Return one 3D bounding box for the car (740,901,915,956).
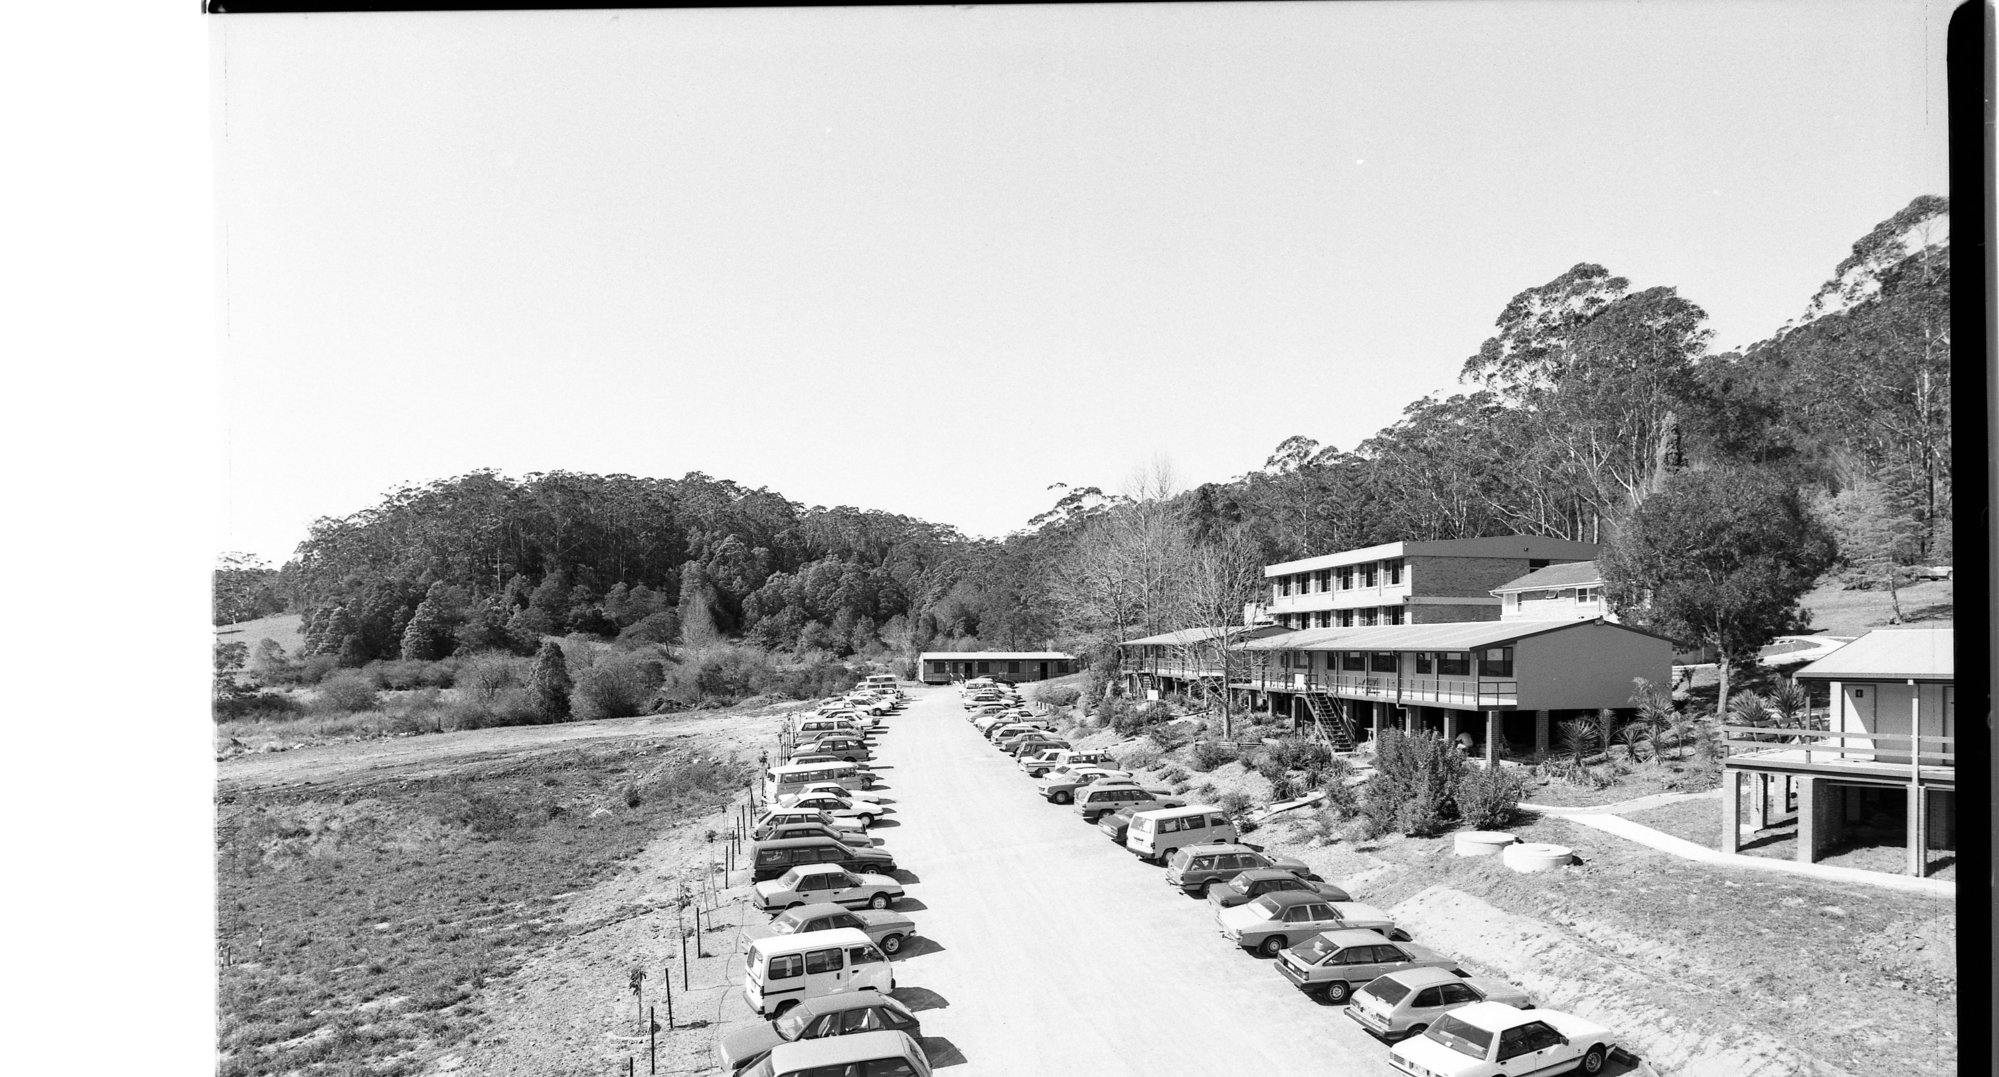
[{"bbox_3d":[-3.423,9.051,28.557,3.055,1.004,1.337,-1,1,-22],"label":"car"}]

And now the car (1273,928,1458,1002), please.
[{"bbox_3d":[8.141,9.413,26.976,3.317,1.009,1.536,-5,6,-19],"label":"car"}]

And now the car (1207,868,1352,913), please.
[{"bbox_3d":[6.746,8.902,29.941,2.913,0.884,1.266,-3,4,-16],"label":"car"}]

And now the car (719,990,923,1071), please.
[{"bbox_3d":[-3.746,9.889,24.896,3.652,1.288,1.673,4,-4,-16],"label":"car"}]

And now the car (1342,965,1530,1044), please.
[{"bbox_3d":[9.285,9.990,25.991,3.587,1.058,1.598,-6,6,-21],"label":"car"}]

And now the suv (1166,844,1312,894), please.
[{"bbox_3d":[6.049,8.659,31.211,3.047,0.990,1.419,-3,4,-15],"label":"suv"}]

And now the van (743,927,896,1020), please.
[{"bbox_3d":[-3.965,9.277,26.498,2.788,1.293,1.644,-2,0,-19],"label":"van"}]

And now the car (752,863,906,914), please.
[{"bbox_3d":[-4.275,8.708,30.371,3.216,0.954,1.408,-2,1,-15],"label":"car"}]
